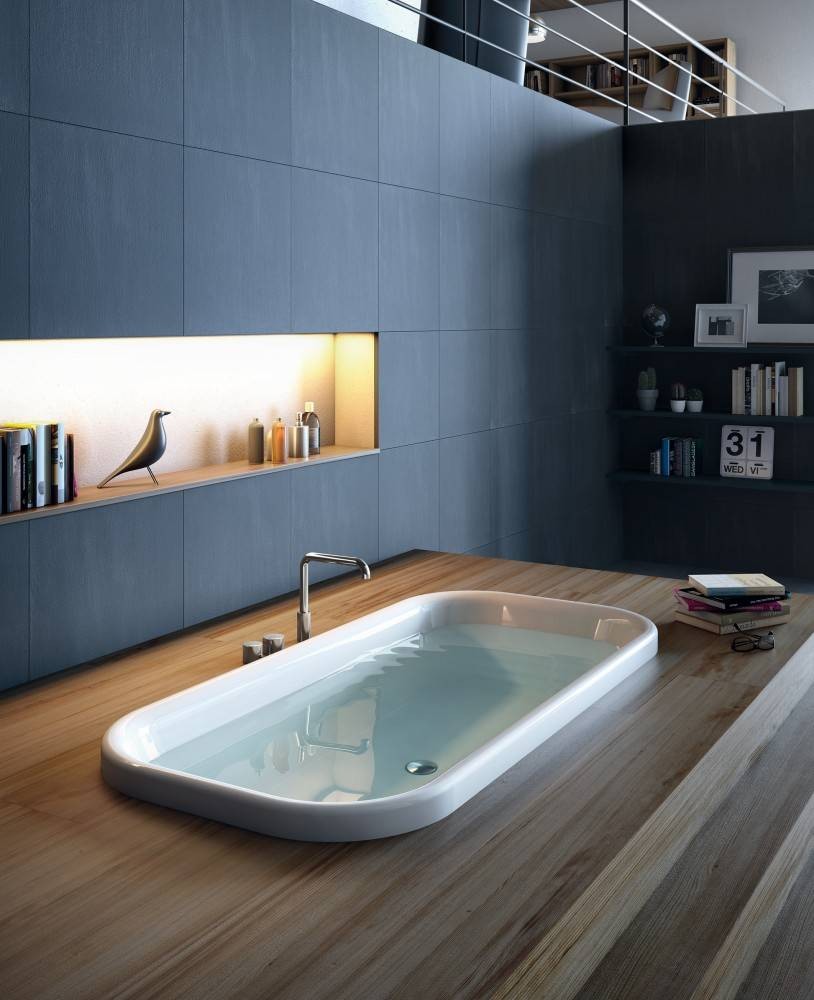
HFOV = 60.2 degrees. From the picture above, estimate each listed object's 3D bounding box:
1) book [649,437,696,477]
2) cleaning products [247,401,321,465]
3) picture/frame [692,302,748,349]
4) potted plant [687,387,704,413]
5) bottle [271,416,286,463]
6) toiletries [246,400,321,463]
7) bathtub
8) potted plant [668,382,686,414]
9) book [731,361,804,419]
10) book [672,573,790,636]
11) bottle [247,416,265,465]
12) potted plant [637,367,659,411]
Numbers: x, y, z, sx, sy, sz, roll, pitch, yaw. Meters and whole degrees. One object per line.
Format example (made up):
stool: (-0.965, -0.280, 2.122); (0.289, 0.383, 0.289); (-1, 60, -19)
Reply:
book: (1.885, -0.294, 4.915); (0.230, 0.345, 0.323); (2, 2, 33)
cleaning products: (-0.450, -0.260, 2.897); (0.121, 0.325, 0.434); (1, 1, 36)
picture/frame: (2.106, -1.166, 4.649); (0.293, 0.336, 0.033); (2, 2, 28)
potted plant: (1.993, -0.690, 4.823); (0.134, 0.216, 0.147); (1, 5, 14)
bottle: (-0.547, -0.249, 2.890); (0.064, 0.206, 0.189); (0, -1, -10)
toiletries: (-0.519, -0.300, 2.912); (0.107, 0.262, 0.211); (17, 15, 42)
bathtub: (-0.063, 0.476, 1.920); (1.037, 0.293, 1.096); (7, 11, 40)
potted plant: (1.899, -0.713, 4.884); (0.112, 0.234, 0.175); (-1, -1, 22)
book: (2.387, -0.726, 4.596); (0.424, 0.346, 0.074); (-1, -1, 24)
book: (1.118, 0.355, 2.368); (0.371, 0.181, 0.201); (-1, -1, 15)
bottle: (-0.627, -0.243, 2.861); (0.066, 0.204, 0.190); (0, -1, -11)
potted plant: (1.739, -0.793, 4.980); (0.216, 0.325, 0.128); (0, -1, -22)
